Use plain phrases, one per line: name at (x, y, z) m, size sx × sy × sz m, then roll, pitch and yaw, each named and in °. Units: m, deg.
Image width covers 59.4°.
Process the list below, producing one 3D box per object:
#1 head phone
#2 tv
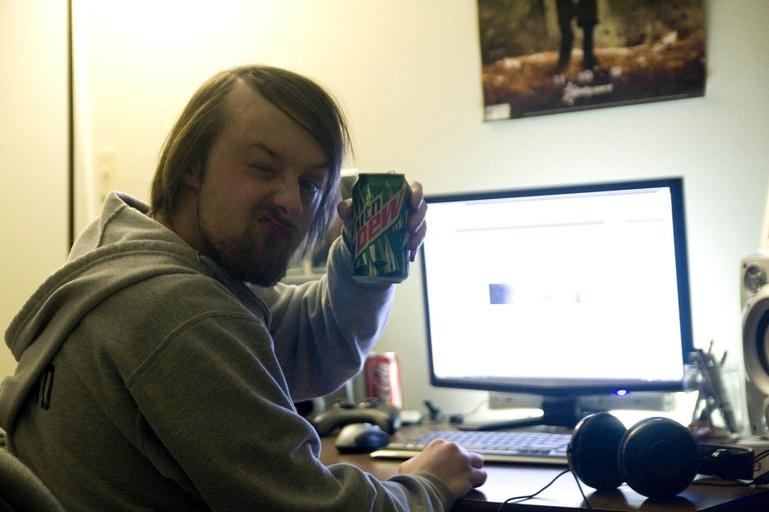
head phone at (0.503, 0.427, 1.504) m, size 0.407 × 0.149 × 0.408 m, roll 7°, pitch -9°, yaw -20°
tv at (0.436, 0.118, 1.670) m, size 0.686 × 0.554 × 0.136 m, roll -3°, pitch -6°, yaw 15°
